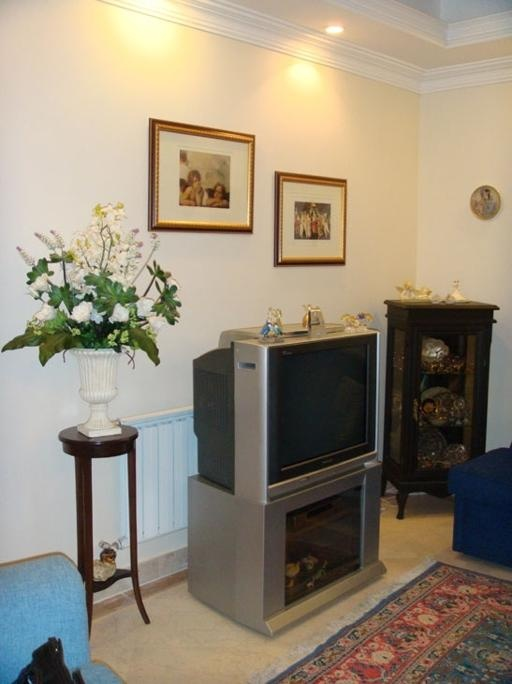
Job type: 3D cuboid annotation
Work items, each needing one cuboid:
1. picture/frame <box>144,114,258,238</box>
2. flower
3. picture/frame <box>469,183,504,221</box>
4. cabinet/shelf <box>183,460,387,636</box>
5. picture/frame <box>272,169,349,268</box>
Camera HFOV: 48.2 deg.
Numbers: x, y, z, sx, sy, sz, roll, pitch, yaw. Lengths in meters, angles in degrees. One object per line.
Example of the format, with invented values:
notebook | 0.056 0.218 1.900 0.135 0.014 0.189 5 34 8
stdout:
picture/frame | -0.274 -0.774 2.653 0.026 0.463 0.659 11 14 42
flower | -0.596 -0.180 2.177 0.710 0.709 0.622 0 10 -13
picture/frame | 1.521 -0.916 3.748 0.033 0.228 0.203 -5 -23 -39
cabinet/shelf | 0.087 0.698 2.500 0.829 0.524 0.572 -9 12 -44
picture/frame | 0.293 -0.711 3.265 0.027 0.505 0.612 9 12 43
